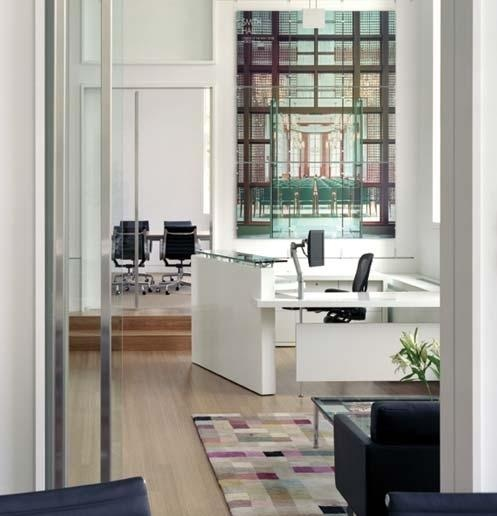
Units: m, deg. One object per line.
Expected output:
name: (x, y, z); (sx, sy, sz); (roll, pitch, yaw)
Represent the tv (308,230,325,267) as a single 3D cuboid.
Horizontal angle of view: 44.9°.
tv: (0.596, -0.087, 5.320); (0.127, 0.315, 0.286); (1, 2, 34)
